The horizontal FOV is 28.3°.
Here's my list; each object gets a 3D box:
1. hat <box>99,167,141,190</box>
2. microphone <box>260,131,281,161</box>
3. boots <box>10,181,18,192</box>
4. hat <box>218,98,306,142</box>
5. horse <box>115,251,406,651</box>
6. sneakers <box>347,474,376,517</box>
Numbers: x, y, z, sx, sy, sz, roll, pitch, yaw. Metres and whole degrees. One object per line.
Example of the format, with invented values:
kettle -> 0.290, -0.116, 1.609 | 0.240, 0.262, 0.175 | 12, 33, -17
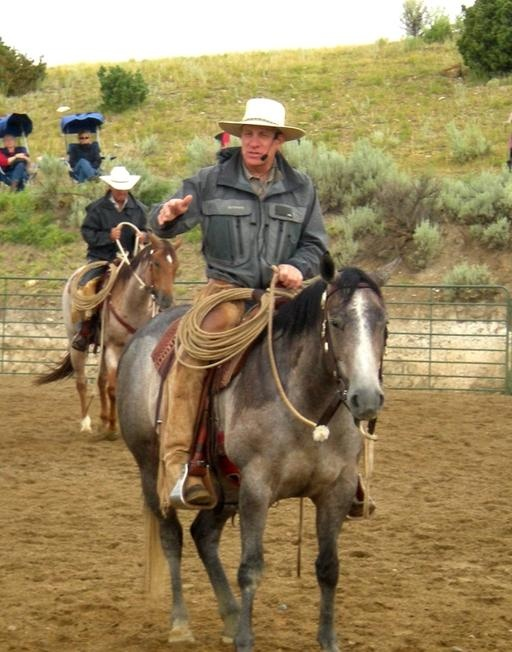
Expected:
hat -> -1.436, -1.535, 10.837 | 0.659, 0.234, 0.650 | -2, 9, -5
microphone -> 0.108, -1.111, 6.313 | 0.056, 0.179, 0.142 | 13, 0, -16
boots -> -5.276, -3.030, 22.205 | 0.097, 0.067, 0.310 | 31, 10, -16
hat -> 0.041, -1.280, 6.405 | 0.518, 0.162, 0.506 | 2, -6, 38
horse -> 0.007, 0.755, 5.881 | 1.027, 2.371, 2.085 | -13, 15, -33
sneakers -> 0.648, 1.029, 6.136 | 0.094, 0.241, 0.204 | -6, 0, 19
